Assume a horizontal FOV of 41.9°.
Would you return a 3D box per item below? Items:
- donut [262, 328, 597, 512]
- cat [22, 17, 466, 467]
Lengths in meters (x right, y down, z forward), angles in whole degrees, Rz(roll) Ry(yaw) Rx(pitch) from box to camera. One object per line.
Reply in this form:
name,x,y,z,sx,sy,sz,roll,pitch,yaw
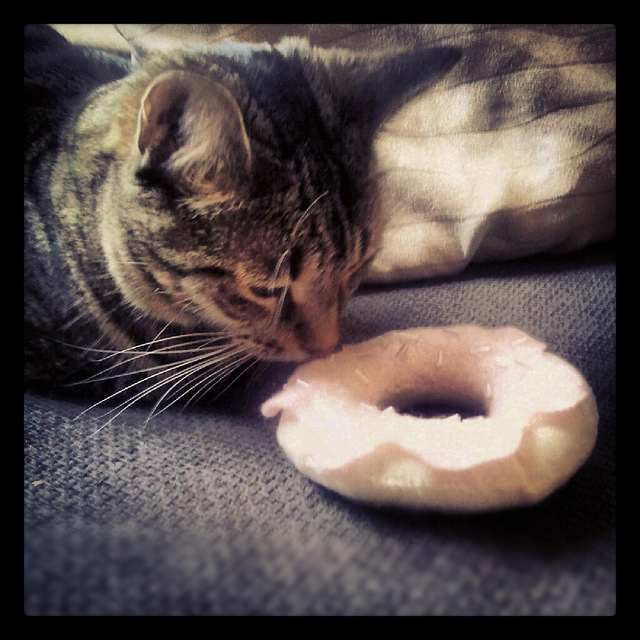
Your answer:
donut,0.132,0.118,1.048,0.412,0.087,0.259,-7,46,8
cat,-0.147,-0.199,1.276,0.560,0.511,0.727,-5,29,-5
